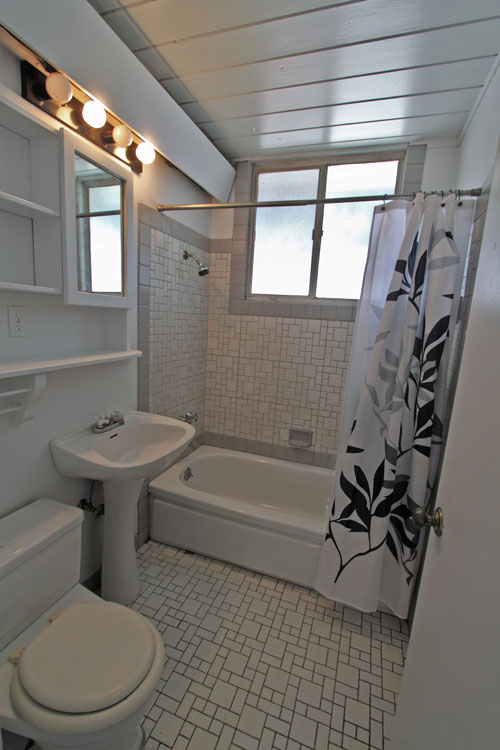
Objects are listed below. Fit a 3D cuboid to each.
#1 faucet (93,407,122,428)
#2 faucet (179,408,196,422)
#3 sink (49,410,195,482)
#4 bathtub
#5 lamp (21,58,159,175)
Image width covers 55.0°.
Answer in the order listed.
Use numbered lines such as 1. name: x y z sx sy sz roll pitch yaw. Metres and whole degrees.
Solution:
1. faucet: -0.561 0.168 1.909 0.044 0.034 0.085 7 15 21
2. faucet: -0.336 0.228 2.676 0.051 0.030 0.080 1 9 7
3. sink: -0.446 0.279 1.889 0.349 0.151 0.566 10 16 22
4. bathtub: 0.000 0.664 2.525 0.877 0.317 0.719 9 16 18
5. lamp: -0.527 -0.892 1.723 0.143 0.235 0.624 7 15 18
